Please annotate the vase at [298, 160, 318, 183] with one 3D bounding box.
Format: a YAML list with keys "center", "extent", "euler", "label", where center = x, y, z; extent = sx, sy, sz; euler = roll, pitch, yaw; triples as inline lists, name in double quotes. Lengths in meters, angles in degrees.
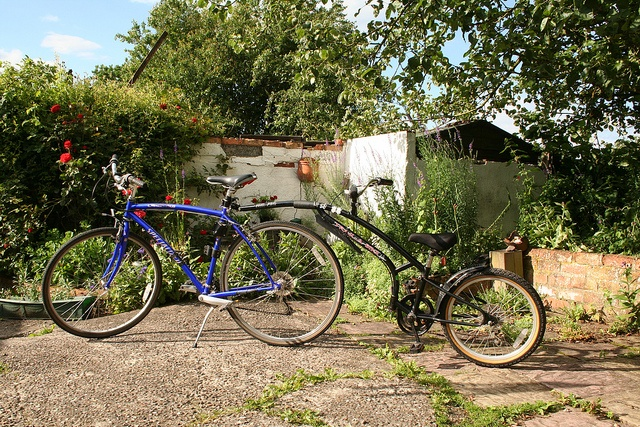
- center: [-0.205, -0.709, 8.804]
  extent: [0.353, 0.277, 0.359]
  euler: [4, 1, 20]
  label: "vase"
